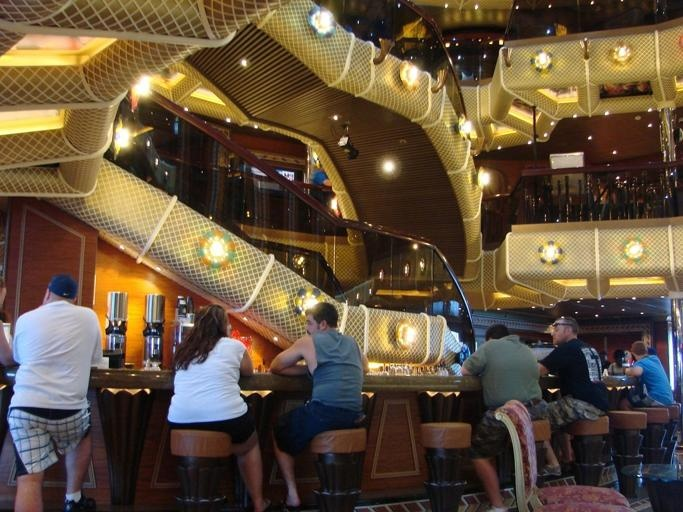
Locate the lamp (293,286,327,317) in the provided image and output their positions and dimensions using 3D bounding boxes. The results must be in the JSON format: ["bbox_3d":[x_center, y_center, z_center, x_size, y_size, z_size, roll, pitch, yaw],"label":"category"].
[{"bbox_3d":[-0.354,0.469,6.712,0.314,0.359,0.123,1,-10,-24],"label":"lamp"}]

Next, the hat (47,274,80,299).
[{"bbox_3d":[-1.840,0.180,4.000,0.145,0.120,0.197,12,16,-41],"label":"hat"}]

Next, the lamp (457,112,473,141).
[{"bbox_3d":[2.287,-2.419,11.409,0.107,0.509,0.485,1,3,22],"label":"lamp"}]

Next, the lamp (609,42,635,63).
[{"bbox_3d":[5.280,-3.819,11.511,0.345,0.370,0.081,-4,-11,12],"label":"lamp"}]

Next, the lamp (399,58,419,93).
[{"bbox_3d":[1.052,-2.842,9.624,0.118,0.431,0.412,1,12,36],"label":"lamp"}]

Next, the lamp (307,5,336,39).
[{"bbox_3d":[-0.289,-3.144,8.221,0.382,0.395,0.126,35,-8,-33],"label":"lamp"}]
